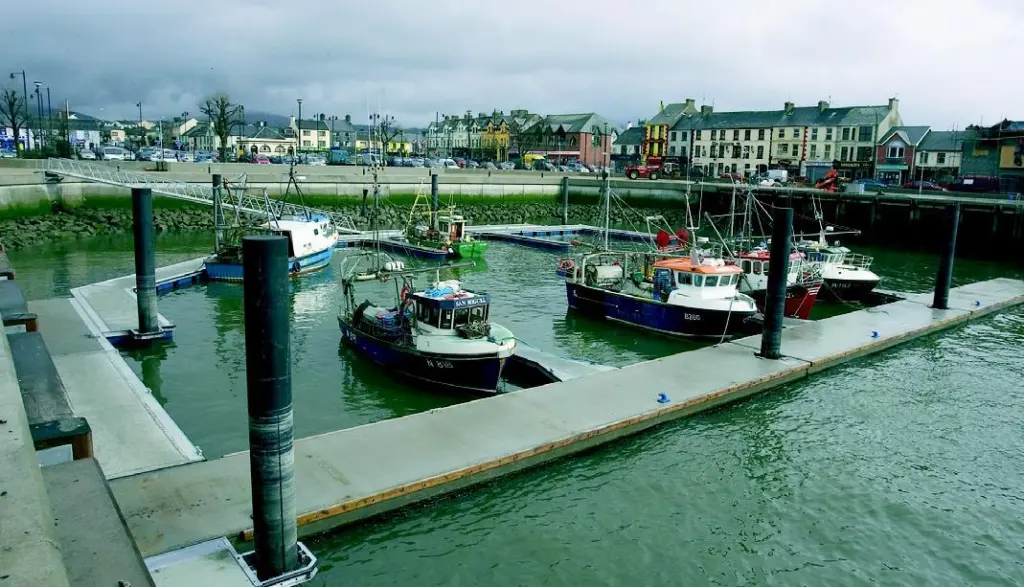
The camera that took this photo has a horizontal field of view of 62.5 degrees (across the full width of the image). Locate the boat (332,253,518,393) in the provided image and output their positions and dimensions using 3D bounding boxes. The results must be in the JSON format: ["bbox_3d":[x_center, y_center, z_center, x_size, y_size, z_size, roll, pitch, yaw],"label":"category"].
[{"bbox_3d":[-3.895,1.175,38.568,5.227,3.687,10.550,-14,20,-40],"label":"boat"}]

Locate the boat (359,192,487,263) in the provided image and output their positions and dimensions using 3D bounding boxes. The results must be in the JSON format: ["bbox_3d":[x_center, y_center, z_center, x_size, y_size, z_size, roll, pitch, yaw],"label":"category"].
[{"bbox_3d":[-5.297,-4.225,63.117,6.305,3.857,9.001,-10,17,-41],"label":"boat"}]

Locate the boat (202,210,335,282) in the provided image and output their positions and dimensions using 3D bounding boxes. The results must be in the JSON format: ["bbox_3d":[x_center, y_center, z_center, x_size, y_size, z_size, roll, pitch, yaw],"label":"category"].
[{"bbox_3d":[-14.714,-2.918,53.151,3.486,3.548,9.050,7,13,16],"label":"boat"}]
